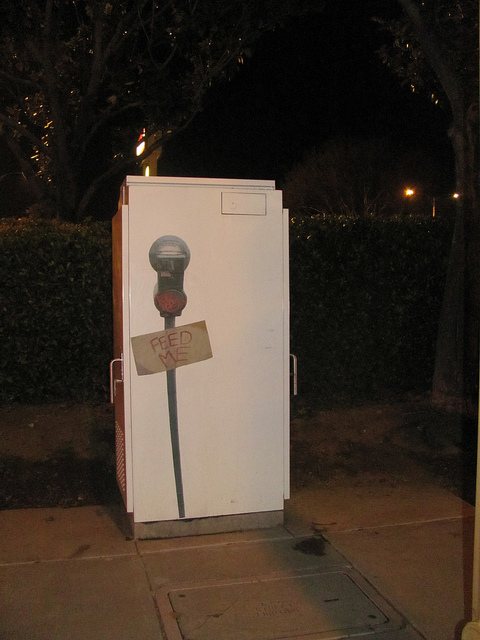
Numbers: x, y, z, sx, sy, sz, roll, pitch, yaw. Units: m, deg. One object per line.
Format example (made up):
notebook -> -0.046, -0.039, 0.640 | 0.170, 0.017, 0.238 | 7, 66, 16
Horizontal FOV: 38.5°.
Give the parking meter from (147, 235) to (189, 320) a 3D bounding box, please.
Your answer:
parking meter -> -0.439, -0.258, 4.211 | 0.249, 0.506, 0.074 | -1, 4, -10
